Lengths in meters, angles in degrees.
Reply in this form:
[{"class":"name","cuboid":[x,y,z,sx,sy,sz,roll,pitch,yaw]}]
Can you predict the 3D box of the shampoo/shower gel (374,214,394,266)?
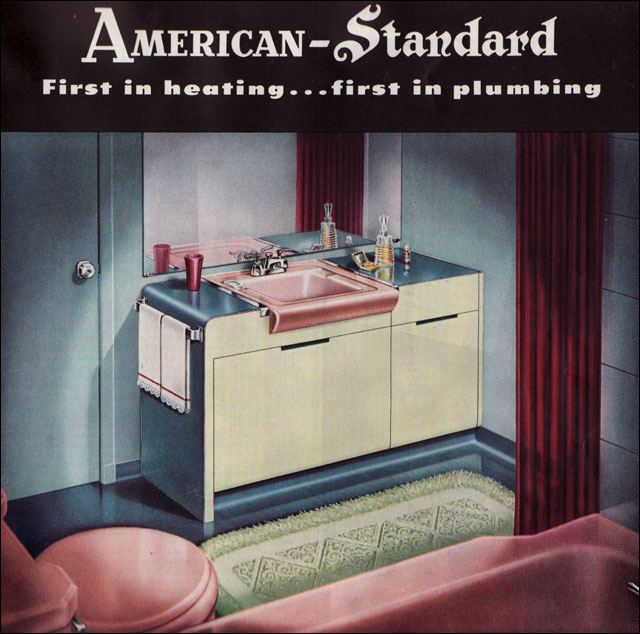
[{"class":"shampoo/shower gel","cuboid":[0.332,-0.394,3.616,0.123,0.268,0.053,-5,5,-43]}]
